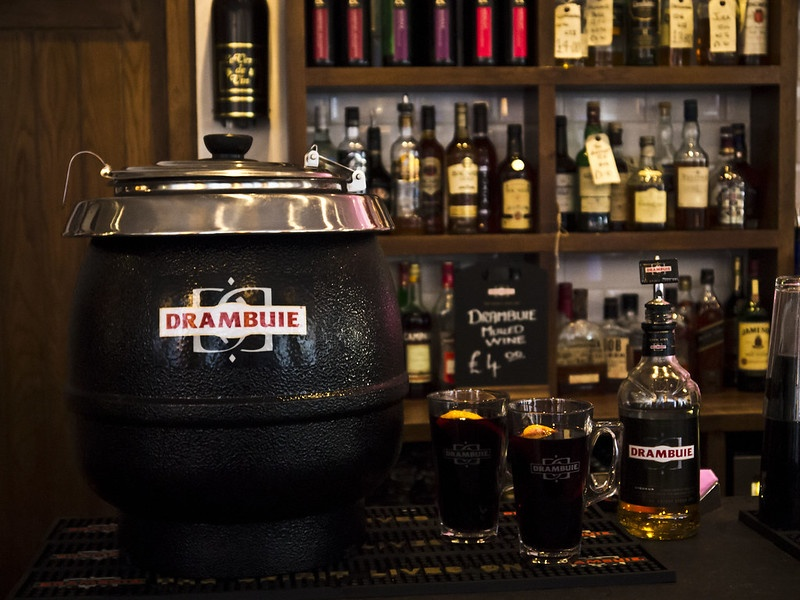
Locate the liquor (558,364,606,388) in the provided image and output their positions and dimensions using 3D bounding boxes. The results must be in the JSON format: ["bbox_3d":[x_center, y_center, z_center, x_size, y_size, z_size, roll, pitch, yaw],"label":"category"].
[{"bbox_3d":[0.532,0.229,2.526,0.119,0.052,0.075,0,3,0],"label":"liquor"}]

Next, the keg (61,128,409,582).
[{"bbox_3d":[-0.198,0.049,1.334,0.624,0.622,0.539,-2,6,-13],"label":"keg"}]

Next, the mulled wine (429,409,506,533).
[{"bbox_3d":[0.096,0.246,1.179,0.089,0.173,0.049,-1,14,2],"label":"mulled wine"}]

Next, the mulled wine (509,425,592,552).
[{"bbox_3d":[0.196,0.253,1.126,0.104,0.171,0.068,1,14,7],"label":"mulled wine"}]

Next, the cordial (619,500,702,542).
[{"bbox_3d":[0.373,0.297,1.217,0.073,0.065,0.072,-4,7,-38],"label":"cordial"}]

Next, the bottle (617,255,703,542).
[{"bbox_3d":[0.372,0.170,1.213,0.116,0.339,0.093,2,14,13],"label":"bottle"}]
